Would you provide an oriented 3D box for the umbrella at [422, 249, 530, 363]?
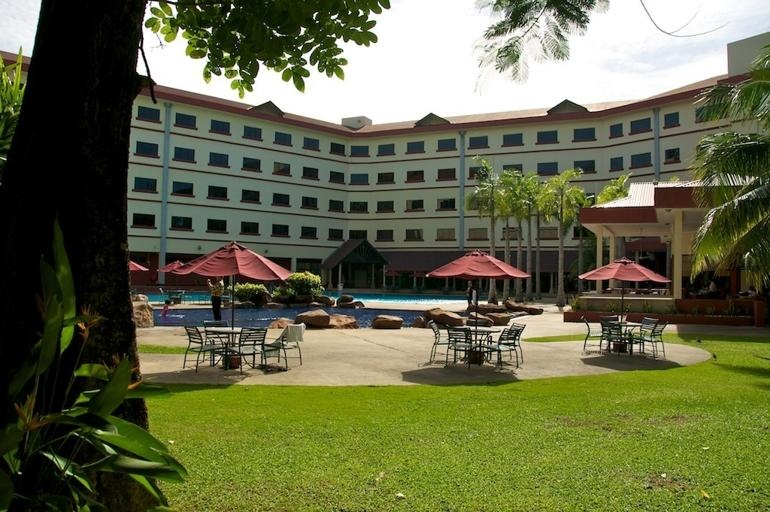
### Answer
[{"bbox_3d":[2.588,1.275,16.395,3.317,2.839,3.229,3,-3,-43],"label":"umbrella"}]

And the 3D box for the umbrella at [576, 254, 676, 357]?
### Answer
[{"bbox_3d":[7.658,1.283,18.746,2.737,2.202,2.687,6,-3,-41],"label":"umbrella"}]

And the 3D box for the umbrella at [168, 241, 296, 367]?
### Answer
[{"bbox_3d":[-4.099,0.737,15.166,2.989,2.034,2.652,8,2,0],"label":"umbrella"}]

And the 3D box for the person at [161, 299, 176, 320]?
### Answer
[{"bbox_3d":[-11.701,2.940,31.254,0.656,0.676,0.637,5,-8,-2],"label":"person"}]
